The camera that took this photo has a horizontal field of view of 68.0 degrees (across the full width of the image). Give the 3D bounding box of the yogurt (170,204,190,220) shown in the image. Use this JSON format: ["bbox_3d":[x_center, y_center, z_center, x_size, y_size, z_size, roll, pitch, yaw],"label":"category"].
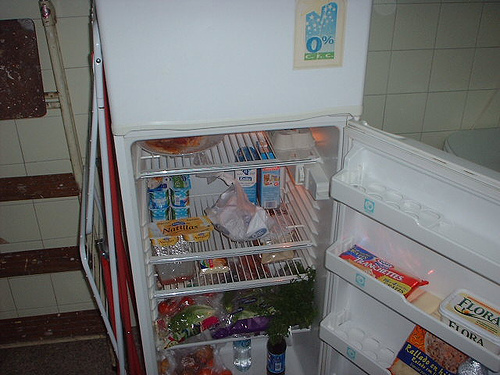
[{"bbox_3d":[-0.341,0.123,1.809,0.063,0.072,0.065,-4,14,-16],"label":"yogurt"}]

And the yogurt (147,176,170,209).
[{"bbox_3d":[-0.421,0.017,1.785,0.092,0.152,0.153,-2,19,-9],"label":"yogurt"}]

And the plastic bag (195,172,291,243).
[{"bbox_3d":[-0.019,0.099,1.820,0.276,0.289,0.158,3,35,23],"label":"plastic bag"}]

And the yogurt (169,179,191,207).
[{"bbox_3d":[-0.335,0.026,1.775,0.114,0.120,0.196,3,-5,-10],"label":"yogurt"}]

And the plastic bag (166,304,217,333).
[{"bbox_3d":[-0.286,0.611,1.757,0.195,0.051,0.109,-9,43,-10],"label":"plastic bag"}]

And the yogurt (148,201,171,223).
[{"bbox_3d":[-0.426,0.126,1.770,0.089,0.090,0.068,18,28,34],"label":"yogurt"}]
